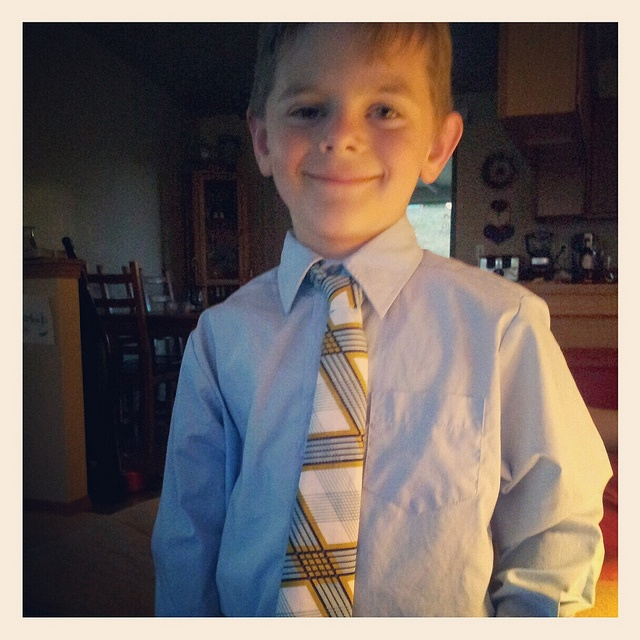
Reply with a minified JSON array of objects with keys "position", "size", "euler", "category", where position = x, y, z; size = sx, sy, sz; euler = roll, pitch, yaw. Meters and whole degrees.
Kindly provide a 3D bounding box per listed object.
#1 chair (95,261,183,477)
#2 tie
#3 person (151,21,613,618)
[{"position":[-0.437,0.121,1.748],"size":[0.165,0.451,0.179],"euler":[-2,20,30],"category":"chair"},{"position":[0.015,0.219,1.416],"size":[0.119,0.677,0.048],"euler":[0,13,-14],"category":"tie"},{"position":[0.114,0.003,1.553],"size":[0.886,1.195,0.334],"euler":[-1,2,-8],"category":"person"}]
